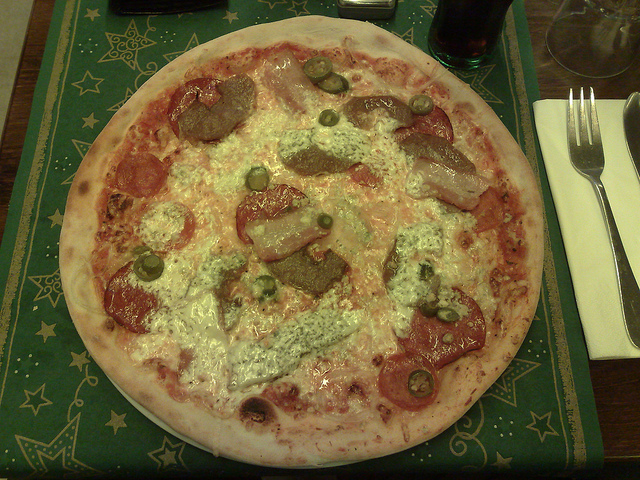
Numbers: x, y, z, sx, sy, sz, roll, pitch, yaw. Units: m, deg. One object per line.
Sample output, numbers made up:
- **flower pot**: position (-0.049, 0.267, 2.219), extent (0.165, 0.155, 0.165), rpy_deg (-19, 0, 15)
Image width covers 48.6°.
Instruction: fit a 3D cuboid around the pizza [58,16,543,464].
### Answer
- **pizza**: position (-0.056, -0.023, 2.224), extent (1.471, 0.217, 1.435), rpy_deg (-26, 85, -2)
